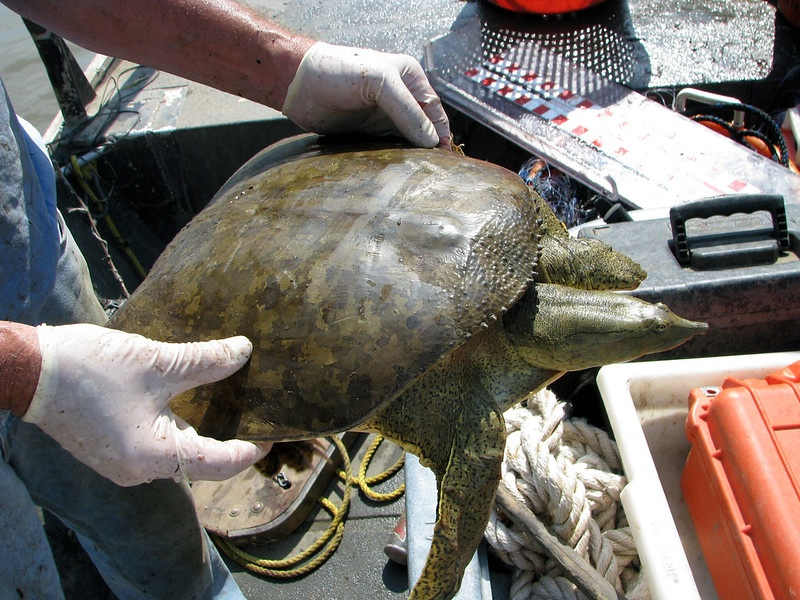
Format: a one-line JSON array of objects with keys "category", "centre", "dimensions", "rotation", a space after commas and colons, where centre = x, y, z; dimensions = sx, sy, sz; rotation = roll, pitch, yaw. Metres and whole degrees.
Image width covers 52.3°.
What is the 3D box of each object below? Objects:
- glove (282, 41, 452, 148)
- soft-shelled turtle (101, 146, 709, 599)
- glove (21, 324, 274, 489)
[{"category": "glove", "centre": [-0.122, -0.740, 3.012], "dimensions": [0.606, 0.311, 0.403], "rotation": [18, 35, 3]}, {"category": "soft-shelled turtle", "centre": [0.046, 0.309, 2.965], "dimensions": [1.755, 0.660, 1.323], "rotation": [11, 61, 14]}, {"category": "glove", "centre": [-0.762, 0.356, 2.537], "dimensions": [0.688, 0.547, 0.350], "rotation": [0, 51, 5]}]
